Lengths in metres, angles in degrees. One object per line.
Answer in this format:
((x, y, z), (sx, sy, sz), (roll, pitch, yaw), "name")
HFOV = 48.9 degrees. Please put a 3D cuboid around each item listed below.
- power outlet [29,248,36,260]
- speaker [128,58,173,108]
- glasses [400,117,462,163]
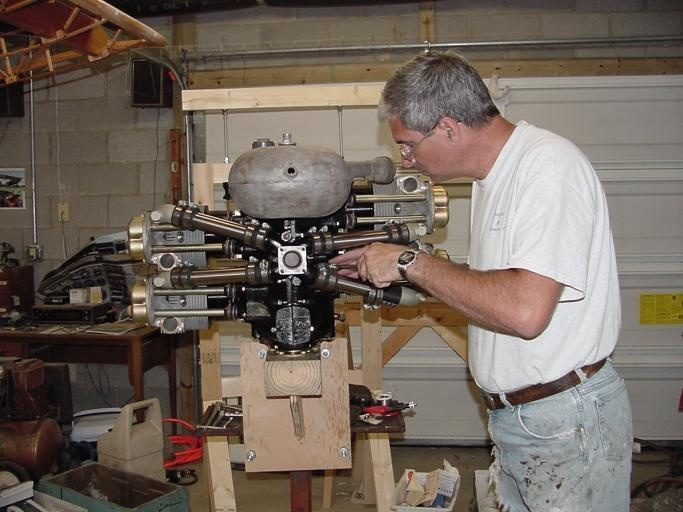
((-2.517, -0.027, 6.074), (0.056, 0.109, 0.032), (-1, 2, -21), "power outlet")
((-1.498, -1.353, 5.865), (0.324, 0.357, 0.182), (-1, 2, -17), "speaker")
((0.374, -0.492, 3.275), (0.183, 0.052, 0.172), (-29, -14, -22), "glasses")
